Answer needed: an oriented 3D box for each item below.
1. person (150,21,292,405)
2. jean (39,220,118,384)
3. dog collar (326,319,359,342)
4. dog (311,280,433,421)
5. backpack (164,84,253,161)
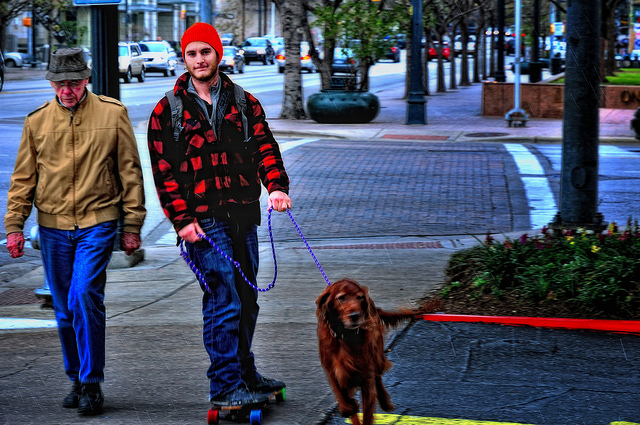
[{"bbox_3d":[-0.677,0.048,5.274,0.762,2.711,0.828,5,17,34],"label":"person"},{"bbox_3d":[-1.715,0.649,5.440,0.543,1.167,0.435,-6,14,-6],"label":"jean"},{"bbox_3d":[0.164,0.728,4.792,0.178,0.037,0.171,22,-10,35],"label":"dog collar"},{"bbox_3d":[0.294,0.915,5.087,0.521,1.066,0.727,-2,13,9],"label":"dog"},{"bbox_3d":[-0.816,-0.689,5.379,0.644,0.363,0.415,2,-7,-18],"label":"backpack"}]
